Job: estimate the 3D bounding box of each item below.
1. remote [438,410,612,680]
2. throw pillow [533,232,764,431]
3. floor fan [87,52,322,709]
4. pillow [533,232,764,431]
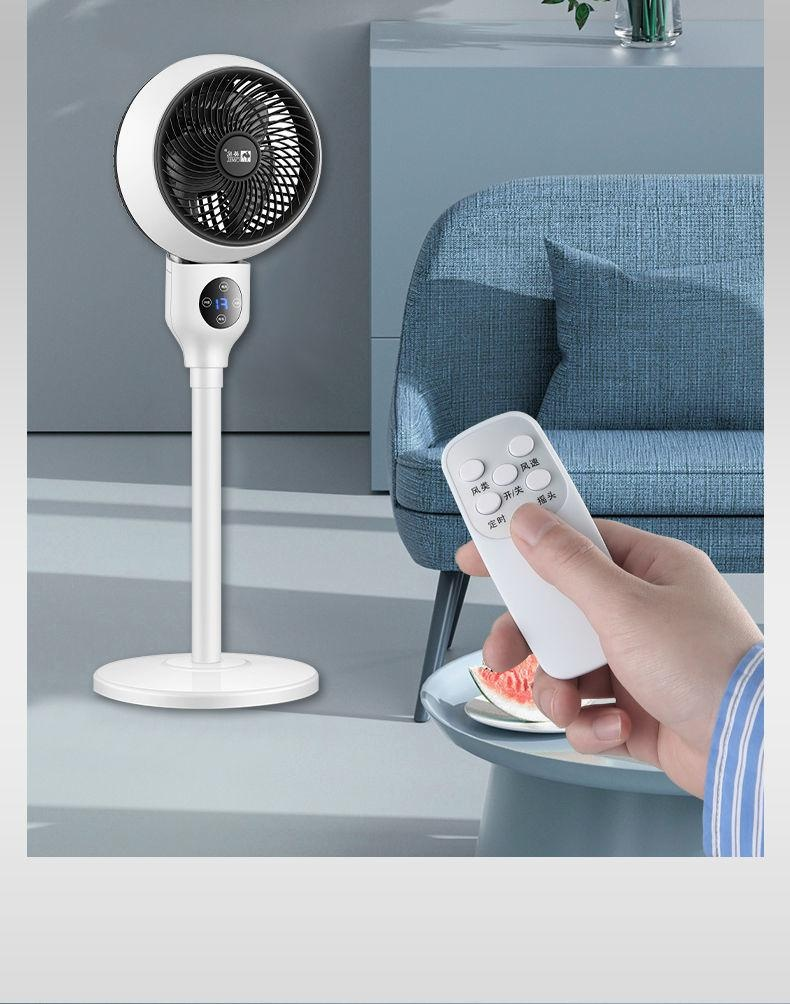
[{"bbox_3d":[0.068,0.024,0.561,0.077,0.158,0.023,-22,-9,-8],"label":"remote"},{"bbox_3d":[0.399,-0.250,1.528,0.459,0.282,0.124,-2,4,-26],"label":"throw pillow"},{"bbox_3d":[-0.269,-0.151,1.333,0.303,0.834,0.331,-7,15,-35],"label":"floor fan"},{"bbox_3d":[0.407,-0.249,1.527,0.460,0.278,0.125,-1,5,-22],"label":"pillow"}]
